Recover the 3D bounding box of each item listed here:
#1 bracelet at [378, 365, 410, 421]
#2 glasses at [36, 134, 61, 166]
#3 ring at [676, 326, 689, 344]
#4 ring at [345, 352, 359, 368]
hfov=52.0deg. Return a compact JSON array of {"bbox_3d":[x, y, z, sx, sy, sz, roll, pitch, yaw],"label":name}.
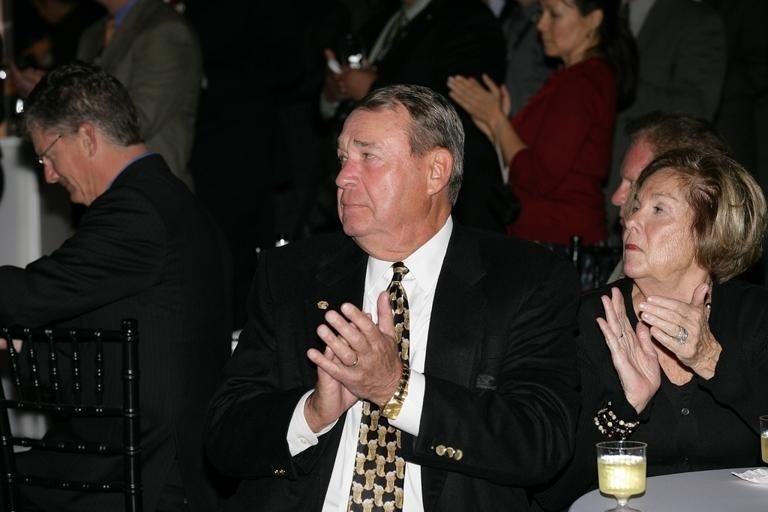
[{"bbox_3d":[0.044,0.400,2.311,0.056,0.136,0.123,13,22,6],"label":"bracelet"},{"bbox_3d":[-1.287,-0.418,3.035,0.090,0.028,0.084,-41,6,-14],"label":"glasses"},{"bbox_3d":[1.002,0.263,2.633,0.039,0.056,0.013,-1,0,-17],"label":"ring"},{"bbox_3d":[-0.086,0.292,2.202,0.036,0.036,0.039,-3,-6,0],"label":"ring"}]
